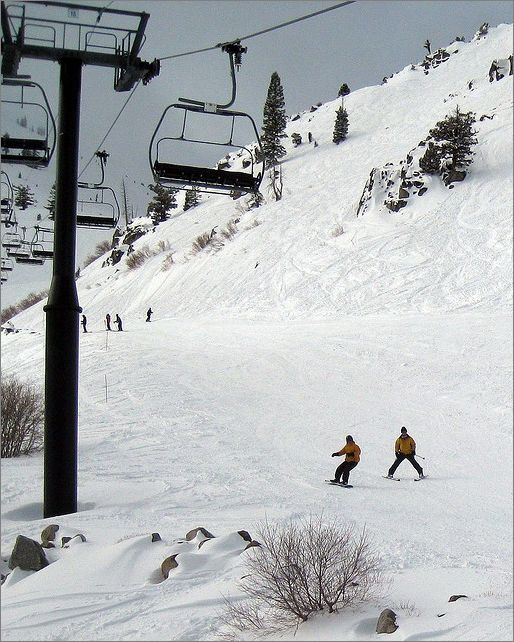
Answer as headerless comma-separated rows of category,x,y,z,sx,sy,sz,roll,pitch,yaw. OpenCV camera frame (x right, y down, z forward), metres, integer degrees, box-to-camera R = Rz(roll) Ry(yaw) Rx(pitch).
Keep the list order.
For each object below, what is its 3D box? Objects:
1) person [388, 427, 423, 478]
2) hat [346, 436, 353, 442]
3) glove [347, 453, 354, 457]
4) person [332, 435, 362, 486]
person,2.718,2.393,16.902,0.659,0.974,1.012,2,2,9
hat,1.575,2.026,15.862,0.108,0.126,0.139,0,-16,6
glove,1.571,2.266,15.601,0.072,0.069,0.021,-2,-9,10
person,1.599,2.556,16.719,0.454,0.838,0.441,35,-36,-18
